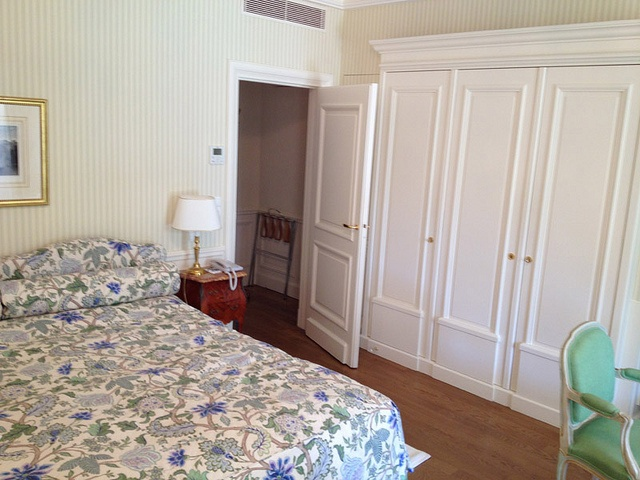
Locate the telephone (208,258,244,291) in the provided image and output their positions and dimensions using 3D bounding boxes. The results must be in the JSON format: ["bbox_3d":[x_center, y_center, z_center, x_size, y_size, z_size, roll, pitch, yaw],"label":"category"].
[{"bbox_3d":[-0.846,0.281,4.151,0.235,0.097,0.308,1,26,-39],"label":"telephone"}]

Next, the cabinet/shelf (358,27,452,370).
[{"bbox_3d":[0.955,-0.279,4.528,0.484,2.868,0.943,-15,25,-41],"label":"cabinet/shelf"}]

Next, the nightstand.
[{"bbox_3d":[-0.844,0.476,4.211,0.570,0.626,0.491,-9,13,-44],"label":"nightstand"}]
